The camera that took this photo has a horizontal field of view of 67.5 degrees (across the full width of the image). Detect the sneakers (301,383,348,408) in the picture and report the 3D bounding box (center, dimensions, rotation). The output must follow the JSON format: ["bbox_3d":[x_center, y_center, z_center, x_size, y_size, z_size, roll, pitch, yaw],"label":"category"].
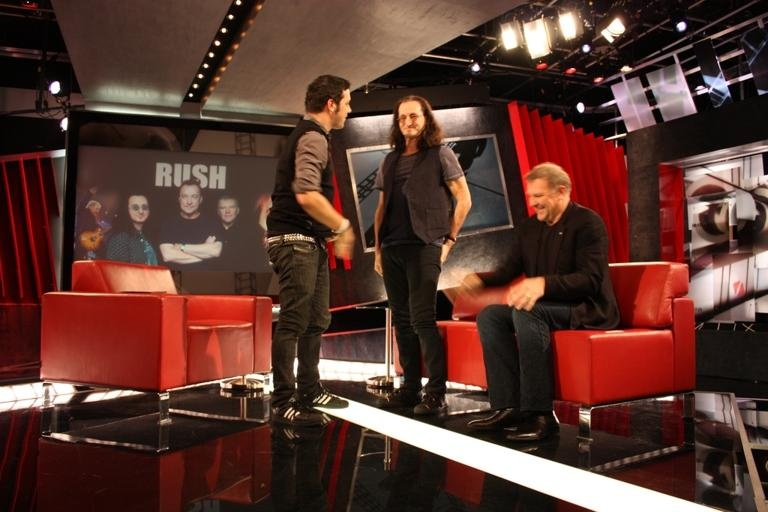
[{"bbox_3d":[-0.376,0.992,4.040,0.421,0.163,0.136,2,-4,-14],"label":"sneakers"}]

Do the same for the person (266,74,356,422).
[{"bbox_3d":[-0.514,-0.068,3.916,0.571,2.369,0.490,0,2,-11],"label":"person"}]

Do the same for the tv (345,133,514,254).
[{"bbox_3d":[0.348,-0.535,5.147,1.404,0.867,0.029,-8,-4,-9],"label":"tv"}]

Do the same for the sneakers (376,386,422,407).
[{"bbox_3d":[0.115,1.021,4.187,0.344,0.133,0.132,2,-6,-3],"label":"sneakers"}]

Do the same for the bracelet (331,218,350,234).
[{"bbox_3d":[-0.271,-0.197,3.749,0.106,0.067,0.100,-1,0,1],"label":"bracelet"}]

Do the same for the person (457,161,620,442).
[{"bbox_3d":[0.981,0.257,3.746,0.894,1.725,0.580,0,2,-18],"label":"person"}]

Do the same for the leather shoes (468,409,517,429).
[{"bbox_3d":[0.706,1.033,3.664,0.369,0.145,0.121,-2,-8,7],"label":"leather shoes"}]

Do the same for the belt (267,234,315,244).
[{"bbox_3d":[-0.617,-0.118,3.821,0.317,0.072,0.110,0,2,-8],"label":"belt"}]

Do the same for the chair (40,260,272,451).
[{"bbox_3d":[-1.642,0.613,4.357,1.049,1.136,1.324,0,-4,17],"label":"chair"}]
